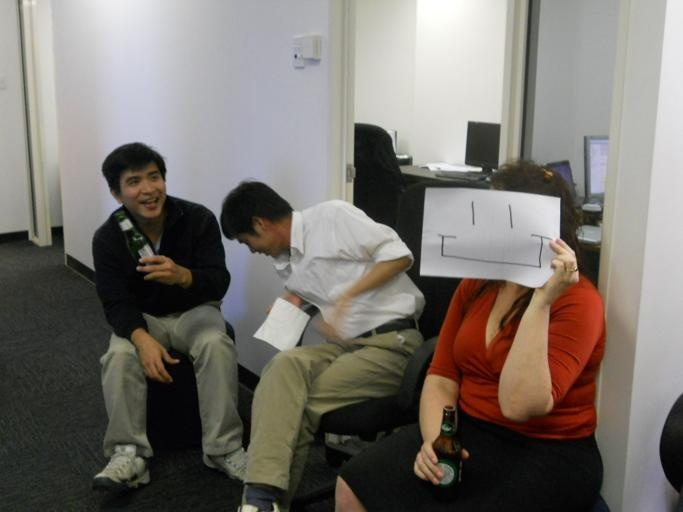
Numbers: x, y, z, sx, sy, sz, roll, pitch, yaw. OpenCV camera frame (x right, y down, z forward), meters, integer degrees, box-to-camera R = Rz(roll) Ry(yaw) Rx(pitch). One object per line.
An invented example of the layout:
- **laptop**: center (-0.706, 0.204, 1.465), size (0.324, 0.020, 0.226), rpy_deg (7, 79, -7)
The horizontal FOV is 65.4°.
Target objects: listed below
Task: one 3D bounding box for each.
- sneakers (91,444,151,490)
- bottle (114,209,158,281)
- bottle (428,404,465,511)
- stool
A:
- **sneakers**: center (-0.936, 0.925, 2.311), size (0.165, 0.172, 0.273), rpy_deg (-3, 14, 0)
- **bottle**: center (-0.953, -0.101, 2.423), size (0.307, 0.228, 0.098), rpy_deg (10, 18, 41)
- **bottle**: center (0.278, 0.524, 1.420), size (0.075, 0.208, 0.126), rpy_deg (0, 13, 10)
- **stool**: center (-0.269, 0.819, 2.312), size (0.817, 1.017, 0.811), rpy_deg (-7, -12, 28)
